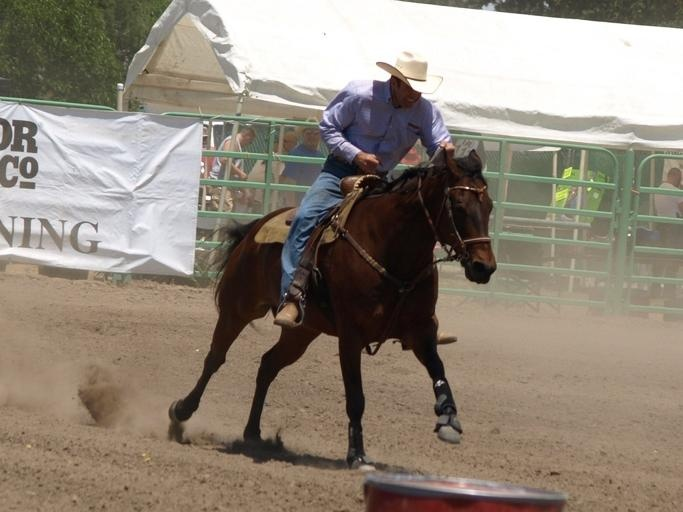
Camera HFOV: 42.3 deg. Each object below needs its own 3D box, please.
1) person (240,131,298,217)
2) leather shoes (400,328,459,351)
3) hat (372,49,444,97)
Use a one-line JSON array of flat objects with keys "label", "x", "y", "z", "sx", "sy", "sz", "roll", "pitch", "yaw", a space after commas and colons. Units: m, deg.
[{"label": "person", "x": -1.156, "y": -1.321, "z": 13.492, "sx": 0.347, "sy": 1.175, "sz": 0.897, "roll": 13, "pitch": 1, "yaw": -15}, {"label": "leather shoes", "x": 0.845, "y": 0.812, "z": 8.751, "sx": 0.701, "sy": 0.224, "sz": 0.221, "roll": 1, "pitch": -3, "yaw": -34}, {"label": "hat", "x": 0.579, "y": -1.694, "z": 8.219, "sx": 0.502, "sy": 0.203, "sz": 0.468, "roll": 33, "pitch": 5, "yaw": 37}]
